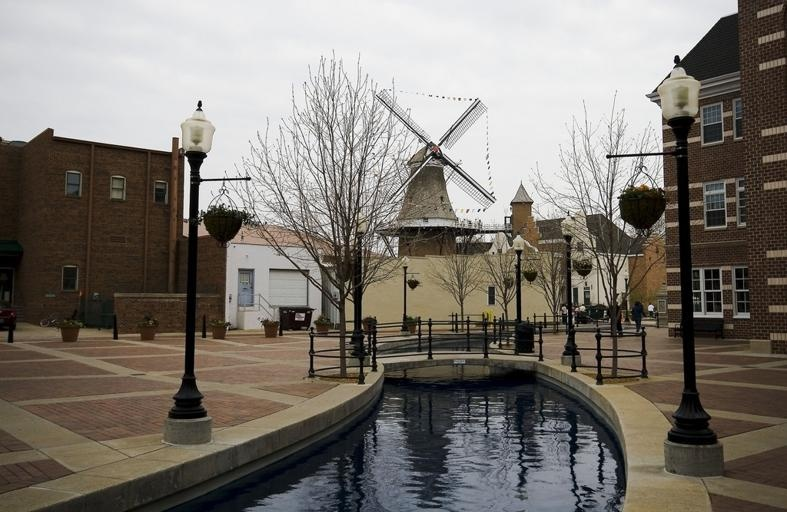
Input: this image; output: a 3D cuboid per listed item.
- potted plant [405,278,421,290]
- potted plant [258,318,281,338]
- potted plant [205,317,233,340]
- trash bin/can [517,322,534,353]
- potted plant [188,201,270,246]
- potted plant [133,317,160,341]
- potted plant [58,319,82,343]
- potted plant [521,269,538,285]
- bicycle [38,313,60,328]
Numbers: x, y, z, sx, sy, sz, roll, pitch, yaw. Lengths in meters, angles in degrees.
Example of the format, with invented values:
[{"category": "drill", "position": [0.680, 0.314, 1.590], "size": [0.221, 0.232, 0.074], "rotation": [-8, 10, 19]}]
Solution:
[{"category": "potted plant", "position": [1.214, 1.668, 45.855], "size": [0.767, 0.762, 0.740], "rotation": [-1, -11, 12]}, {"category": "potted plant", "position": [-6.464, 3.764, 38.630], "size": [1.030, 0.663, 0.990], "rotation": [-1, -8, 8]}, {"category": "potted plant", "position": [-8.976, 3.549, 37.023], "size": [1.351, 1.112, 1.199], "rotation": [1, -9, -3]}, {"category": "trash bin/can", "position": [5.189, 3.187, 28.907], "size": [0.698, 1.220, 0.626], "rotation": [0, 3, 1]}, {"category": "potted plant", "position": [-4.791, -0.833, 21.519], "size": [1.897, 1.277, 1.812], "rotation": [1, -10, -2]}, {"category": "potted plant", "position": [-12.068, 3.514, 35.485], "size": [1.196, 1.177, 1.173], "rotation": [0, -10, -1]}, {"category": "potted plant", "position": [-14.656, 3.369, 33.267], "size": [1.011, 0.923, 0.971], "rotation": [2, -11, -21]}, {"category": "potted plant", "position": [7.092, 0.968, 37.498], "size": [1.162, 0.786, 1.039], "rotation": [-1, -5, 1]}, {"category": "bicycle", "position": [-20.365, 3.766, 43.247], "size": [1.201, 0.674, 0.550], "rotation": [9, -27, 6]}]
